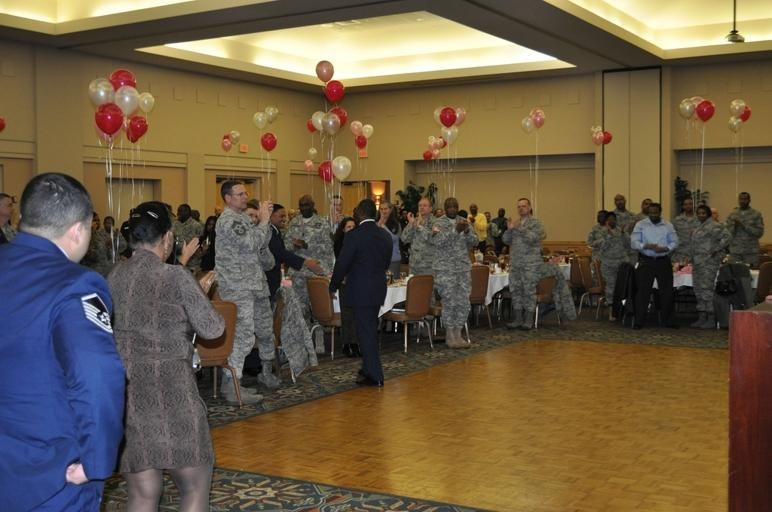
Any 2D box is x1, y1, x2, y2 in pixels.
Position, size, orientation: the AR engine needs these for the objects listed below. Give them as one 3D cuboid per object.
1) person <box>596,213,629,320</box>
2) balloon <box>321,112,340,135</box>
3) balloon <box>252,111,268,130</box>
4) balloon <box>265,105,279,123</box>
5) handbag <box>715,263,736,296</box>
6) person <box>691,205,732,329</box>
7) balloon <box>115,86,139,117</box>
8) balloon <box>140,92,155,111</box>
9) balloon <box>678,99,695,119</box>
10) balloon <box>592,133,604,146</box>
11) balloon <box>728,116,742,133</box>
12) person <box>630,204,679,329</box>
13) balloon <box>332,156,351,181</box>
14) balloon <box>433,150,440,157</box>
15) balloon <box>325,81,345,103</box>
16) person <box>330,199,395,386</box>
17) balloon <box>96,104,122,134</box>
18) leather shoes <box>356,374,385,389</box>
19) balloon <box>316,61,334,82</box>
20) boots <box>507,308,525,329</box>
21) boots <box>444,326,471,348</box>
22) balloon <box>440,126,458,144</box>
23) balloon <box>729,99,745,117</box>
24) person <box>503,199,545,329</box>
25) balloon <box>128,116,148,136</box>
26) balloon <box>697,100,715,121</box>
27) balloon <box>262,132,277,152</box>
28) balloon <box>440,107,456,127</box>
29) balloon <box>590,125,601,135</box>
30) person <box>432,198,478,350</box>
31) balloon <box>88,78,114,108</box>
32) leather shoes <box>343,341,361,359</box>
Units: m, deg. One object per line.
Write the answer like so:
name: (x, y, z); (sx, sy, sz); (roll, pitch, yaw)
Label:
person: (4.577, 0.121, 11.362); (0.528, 1.982, 0.604); (0, 3, 22)
balloon: (-1.138, -2.741, 11.555); (0.261, 0.437, 0.426); (-3, 3, -41)
balloon: (-3.140, -3.406, 14.117); (0.315, 0.362, 0.389); (-1, 2, -5)
balloon: (-2.969, -3.615, 14.419); (0.242, 0.428, 0.678); (-1, 2, 5)
handbag: (5.892, 0.427, 9.760); (0.314, 0.561, 0.169); (1, 3, 31)
person: (5.771, 0.206, 10.052); (0.567, 2.202, 0.454); (1, 3, 37)
balloon: (-4.293, -2.597, 9.284); (0.359, 0.441, 0.431); (-2, 3, -26)
balloon: (-4.851, -3.101, 11.335); (0.244, 0.388, 0.359); (-2, 3, -25)
balloon: (6.924, -3.417, 12.941); (0.274, 0.400, 0.427); (1, 3, 32)
balloon: (5.478, -3.040, 14.549); (0.201, 0.302, 0.584); (0, 3, 25)
balloon: (8.451, -3.202, 13.620); (0.223, 0.344, 0.579); (1, 3, 36)
person: (4.789, 0.192, 10.021); (0.928, 2.235, 0.633); (-3, 3, -40)
balloon: (-0.856, -1.654, 10.495); (0.310, 0.395, 0.361); (-1, 3, -13)
balloon: (1.304, -2.735, 15.122); (0.175, 0.201, 0.178); (10, 26, 30)
balloon: (-1.100, -3.448, 11.716); (0.333, 0.550, 0.778); (-1, 2, -6)
person: (-0.329, 0.422, 6.981); (0.736, 2.224, 1.030); (-1, 3, -6)
balloon: (-4.439, -2.211, 9.003); (0.356, 0.497, 0.442); (-2, 3, -25)
leather shoes: (-0.213, 1.481, 6.765); (0.357, 0.149, 0.131); (12, 8, 19)
balloon: (-1.247, -3.813, 11.514); (0.289, 0.567, 0.861); (-1, 2, -2)
boots: (2.471, 1.205, 10.832); (0.500, 0.455, 0.238); (-1, -1, -34)
boots: (1.141, 1.298, 8.785); (0.226, 0.311, 0.460); (5, -10, -39)
balloon: (1.516, -2.877, 13.451); (0.365, 0.317, 0.393); (-1, -3, -2)
balloon: (8.186, -3.467, 13.101); (0.239, 0.358, 0.503); (1, 3, 34)
person: (2.492, 0.168, 10.185); (0.695, 2.382, 1.007); (0, 3, 12)
balloon: (-4.717, -2.465, 10.653); (0.286, 0.403, 0.462); (-2, 3, -30)
balloon: (7.322, -3.387, 12.966); (0.431, 0.476, 0.310); (-3, 3, -39)
balloon: (-2.853, -2.791, 13.671); (0.294, 0.489, 0.832); (-1, 2, -7)
balloon: (1.337, -3.076, 12.487); (0.372, 0.360, 0.381); (-2, 7, -3)
balloon: (5.433, -3.235, 14.582); (0.220, 0.299, 0.525); (0, 2, 14)
person: (1.027, 0.282, 8.571); (0.714, 2.309, 0.541); (-1, 3, -11)
balloon: (-4.637, -2.652, 9.212); (0.489, 0.474, 0.326); (1, 3, 42)
leather shoes: (-0.451, 1.386, 8.252); (0.378, 0.273, 0.137); (0, -3, 33)
